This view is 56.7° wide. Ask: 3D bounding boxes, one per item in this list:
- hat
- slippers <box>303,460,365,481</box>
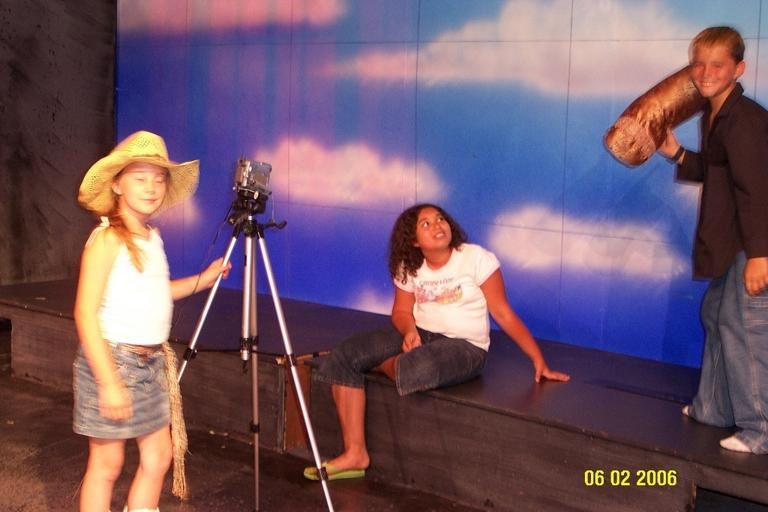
[{"bbox_3d":[-1.117,-0.294,3.030,0.455,0.177,0.416,-35,-35,25],"label":"hat"},{"bbox_3d":[-0.251,1.127,3.693,0.369,0.102,0.149,3,-2,-9],"label":"slippers"}]
